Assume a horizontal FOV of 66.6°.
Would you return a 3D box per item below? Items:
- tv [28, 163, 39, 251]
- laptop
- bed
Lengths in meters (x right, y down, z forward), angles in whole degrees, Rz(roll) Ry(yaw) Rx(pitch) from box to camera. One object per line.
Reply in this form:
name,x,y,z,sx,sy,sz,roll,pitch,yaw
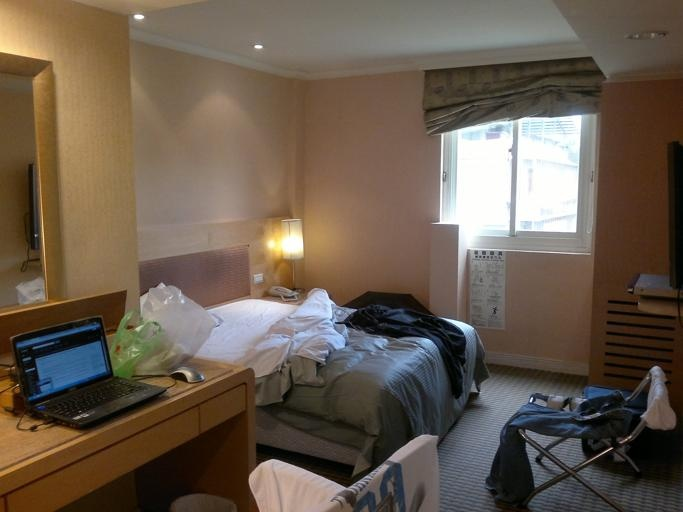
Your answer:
tv,-1.644,-0.250,2.797,0.068,0.471,0.047,9,14,7
laptop,-1.007,0.461,2.117,0.526,0.299,0.553,2,6,-9
bed,-0.312,0.782,3.826,1.919,1.024,1.692,4,10,27
